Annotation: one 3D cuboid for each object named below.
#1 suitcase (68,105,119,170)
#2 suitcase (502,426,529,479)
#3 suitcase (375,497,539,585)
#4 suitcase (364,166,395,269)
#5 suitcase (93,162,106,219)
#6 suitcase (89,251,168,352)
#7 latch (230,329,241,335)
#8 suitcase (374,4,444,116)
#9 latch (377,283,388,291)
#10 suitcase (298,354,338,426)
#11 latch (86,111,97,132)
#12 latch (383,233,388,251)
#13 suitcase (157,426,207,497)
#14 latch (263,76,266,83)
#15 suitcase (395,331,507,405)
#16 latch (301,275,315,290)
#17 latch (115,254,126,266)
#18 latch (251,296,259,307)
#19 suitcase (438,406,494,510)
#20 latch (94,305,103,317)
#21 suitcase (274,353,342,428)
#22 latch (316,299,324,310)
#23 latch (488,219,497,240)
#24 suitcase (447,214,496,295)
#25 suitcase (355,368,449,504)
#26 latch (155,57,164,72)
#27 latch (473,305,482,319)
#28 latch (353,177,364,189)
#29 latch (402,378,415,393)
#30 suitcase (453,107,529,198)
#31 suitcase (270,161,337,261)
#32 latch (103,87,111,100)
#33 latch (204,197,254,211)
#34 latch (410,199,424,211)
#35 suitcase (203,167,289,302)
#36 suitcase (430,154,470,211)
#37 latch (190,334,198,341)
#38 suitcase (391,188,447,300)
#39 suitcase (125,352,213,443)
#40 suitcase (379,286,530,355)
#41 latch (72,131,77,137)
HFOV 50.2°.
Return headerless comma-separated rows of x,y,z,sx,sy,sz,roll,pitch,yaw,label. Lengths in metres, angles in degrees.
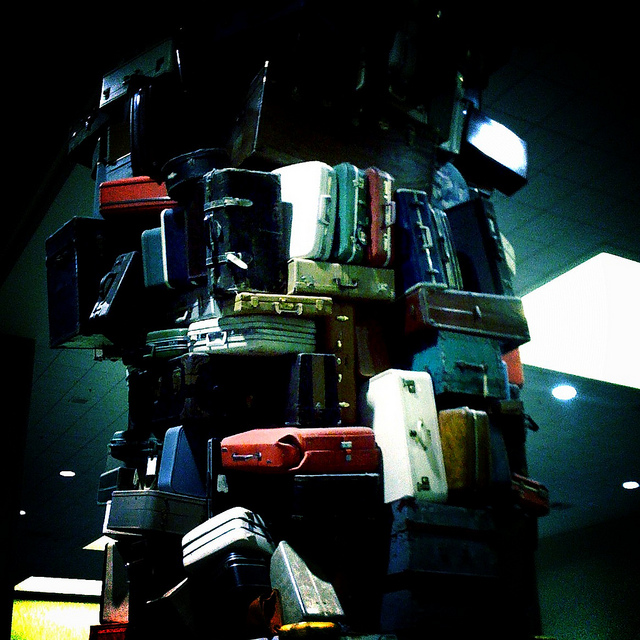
-1.625,-1.341,5.138,0.337,0.503,0.231,0,-19,33,suitcase
1.205,0.831,4.197,0.123,0.317,0.610,-5,-21,17,suitcase
0.685,1.148,3.576,0.510,0.254,0.323,12,-27,-23,suitcase
0.331,-0.601,3.969,0.170,0.578,0.185,2,-18,-5,suitcase
-1.587,-0.947,4.904,0.082,0.400,0.091,-14,25,-43,suitcase
-1.127,-0.091,4.053,0.350,0.649,0.330,24,-16,-27,suitcase
-0.437,0.059,3.500,0.031,0.035,0.031,-2,-5,19,latch
0.579,-1.790,4.618,0.239,0.745,0.488,18,-16,-17,suitcase
0.357,-0.189,3.878,0.035,0.023,0.047,7,8,-7,latch
-0.021,0.365,3.444,0.192,0.365,0.218,-17,-24,38,suitcase
-1.713,-1.483,5.088,0.031,0.130,0.120,15,-31,-37,latch
0.369,-0.445,3.887,0.029,0.102,0.015,4,-18,-9,latch
-0.723,0.779,3.758,0.353,0.355,0.137,16,-20,-40,suitcase
-0.335,-1.435,4.062,0.019,0.038,0.023,9,-21,-21,latch
0.765,0.366,3.886,0.463,0.355,0.486,6,-11,-29,suitcase
-0.071,-0.199,3.631,0.057,0.099,0.034,4,-27,-22,latch
-1.227,-0.359,4.162,0.014,0.066,0.060,29,-25,-33,latch
-0.332,-0.092,3.409,0.042,0.070,0.024,4,-15,-22,latch
0.753,0.706,3.695,0.248,0.444,0.309,6,-9,-42,suitcase
-1.312,-0.059,4.028,0.060,0.086,0.033,-17,-26,42,latch
0.025,0.347,3.560,0.299,0.363,0.320,-1,-1,-6,suitcase
-0.006,-0.085,3.589,0.042,0.046,0.010,9,-7,-37,latch
1.131,-0.604,4.495,0.025,0.111,0.104,-5,-4,15,latch
0.988,-0.432,4.439,0.106,0.500,0.445,-5,-5,-12,suitcase
0.431,0.621,3.521,0.201,0.626,0.380,13,-36,-29,suitcase
-1.066,-1.695,4.536,0.018,0.084,0.076,5,-8,-44,latch
0.913,-0.049,3.945,0.047,0.068,0.020,3,-22,-10,latch
0.215,-0.781,3.882,0.051,0.058,0.016,0,-1,-19,latch
0.469,0.347,3.614,0.049,0.081,0.028,-6,-2,-24,latch
1.295,-1.294,5.246,0.707,0.699,0.257,28,-41,-27,suitcase
-0.090,-0.577,3.747,0.169,0.547,0.527,2,-1,-29,suitcase
-1.498,-1.590,4.783,0.016,0.075,0.070,4,11,-36,latch
-0.484,-0.609,3.555,0.254,0.065,0.079,0,-20,3,latch
0.568,-0.688,4.079,0.063,0.071,0.018,5,-5,-23,latch
-0.412,-0.446,3.657,0.418,0.691,0.270,1,-8,-34,suitcase
0.931,-1.000,4.970,0.114,0.454,0.332,-30,13,35,suitcase
-0.693,0.093,3.739,0.045,0.018,0.031,0,20,24,latch
0.567,-0.423,4.012,0.171,0.576,0.382,-4,-39,-11,suitcase
-0.843,0.441,3.947,0.200,0.379,0.574,16,-24,-38,suitcase
0.822,0.051,4.167,0.715,0.232,0.598,8,-20,-17,suitcase
-1.844,-1.390,5.102,0.032,0.057,0.019,9,-20,-13,latch
